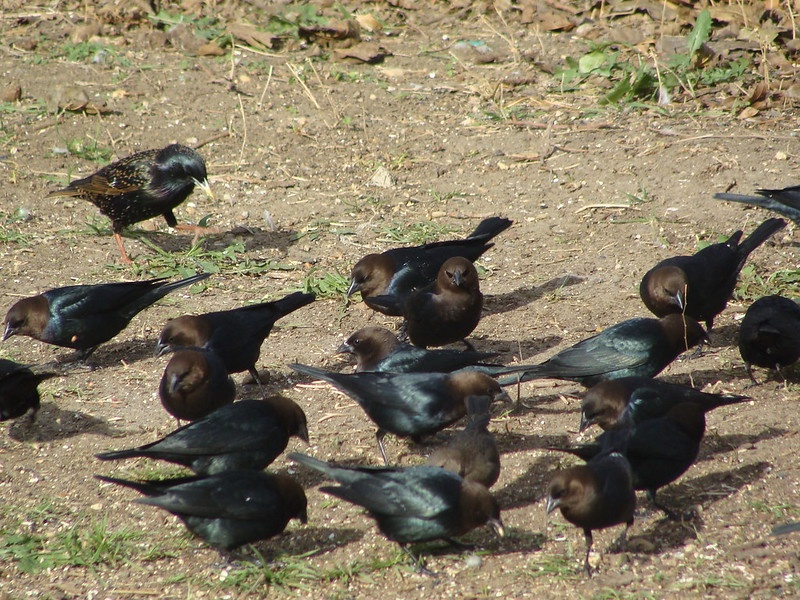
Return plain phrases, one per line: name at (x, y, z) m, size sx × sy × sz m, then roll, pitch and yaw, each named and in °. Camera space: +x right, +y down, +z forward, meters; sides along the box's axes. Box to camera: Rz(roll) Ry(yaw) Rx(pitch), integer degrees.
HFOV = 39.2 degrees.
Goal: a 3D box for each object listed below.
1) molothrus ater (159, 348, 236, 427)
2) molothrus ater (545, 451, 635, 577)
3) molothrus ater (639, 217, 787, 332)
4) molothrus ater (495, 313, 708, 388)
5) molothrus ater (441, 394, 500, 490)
molothrus ater at (-1.766, 0.711, 9.726) m, size 0.566 × 0.505 × 0.733 m, roll -14°, pitch 27°, yaw 12°
molothrus ater at (1.553, 1.657, 8.852) m, size 0.501 × 0.793 × 0.715 m, roll 23°, pitch 29°, yaw 38°
molothrus ater at (3.056, -0.365, 10.570) m, size 1.667 × 0.644 × 0.567 m, roll -40°, pitch 30°, yaw -21°
molothrus ater at (1.548, 0.424, 10.125) m, size 2.480 × 0.751 × 0.558 m, roll -2°, pitch 47°, yaw -3°
molothrus ater at (0.647, 1.169, 9.213) m, size 0.521 × 0.666 × 0.578 m, roll 9°, pitch 0°, yaw 28°
